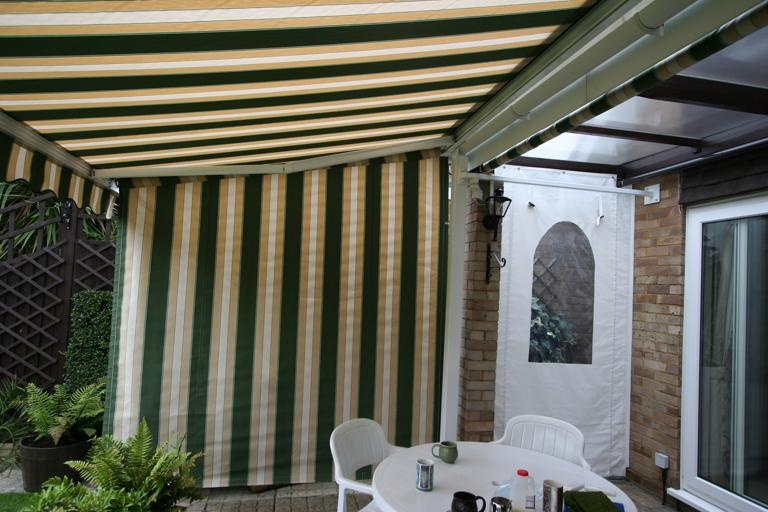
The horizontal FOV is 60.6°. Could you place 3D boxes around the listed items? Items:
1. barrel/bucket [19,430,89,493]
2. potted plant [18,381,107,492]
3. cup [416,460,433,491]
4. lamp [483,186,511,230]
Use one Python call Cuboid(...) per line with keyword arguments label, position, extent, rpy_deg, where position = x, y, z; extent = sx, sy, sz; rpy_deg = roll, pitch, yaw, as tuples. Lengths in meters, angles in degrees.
Cuboid(label="barrel/bucket", position=(-3.912, 2.469, 7.932), extent=(0.717, 0.507, 0.594), rpy_deg=(1, -6, -7))
Cuboid(label="potted plant", position=(-3.949, 2.168, 8.242), extent=(1.227, 1.251, 1.230), rpy_deg=(0, -8, 10))
Cuboid(label="cup", position=(0.367, 1.939, 5.834), extent=(0.155, 0.257, 0.132), rpy_deg=(1, -5, 4))
Cuboid(label="lamp", position=(1.372, -0.557, 8.059), extent=(0.300, 0.476, 0.338), rpy_deg=(1, -5, 4))
